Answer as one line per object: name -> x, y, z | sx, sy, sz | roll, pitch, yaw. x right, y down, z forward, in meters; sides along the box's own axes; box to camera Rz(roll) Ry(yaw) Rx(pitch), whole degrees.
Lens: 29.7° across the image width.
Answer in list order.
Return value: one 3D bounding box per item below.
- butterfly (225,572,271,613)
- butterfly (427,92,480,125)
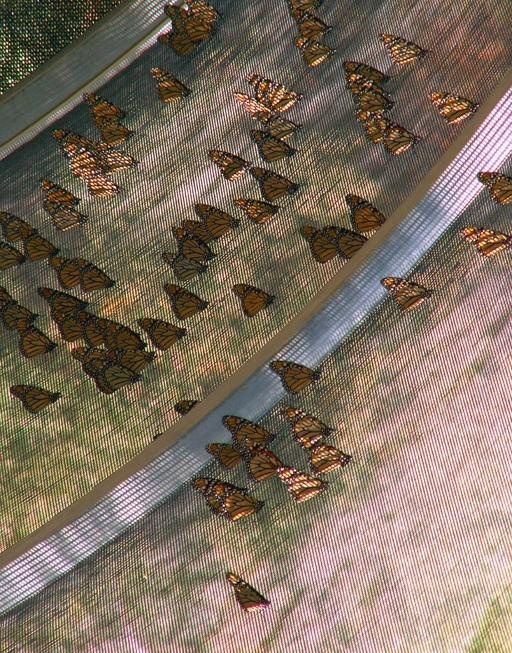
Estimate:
butterfly -> -0.079, 1.770, 6.413 | 0.342, 0.124, 0.147 | 36, 59, 17
butterfly -> 1.488, -1.657, 7.204 | 0.224, 0.268, 0.401 | -1, 57, -10
